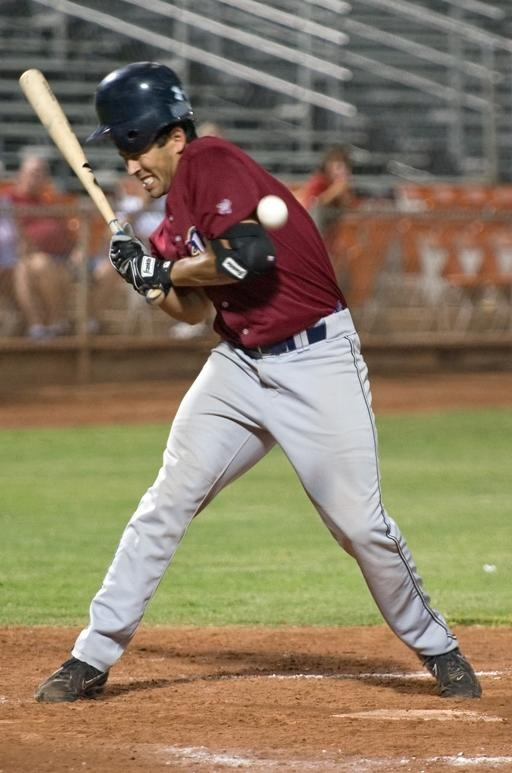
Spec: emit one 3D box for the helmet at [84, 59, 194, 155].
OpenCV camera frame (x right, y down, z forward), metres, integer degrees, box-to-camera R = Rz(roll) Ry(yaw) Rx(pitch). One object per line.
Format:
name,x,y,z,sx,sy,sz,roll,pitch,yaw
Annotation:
helmet,-0.273,-0.657,2.502,0.308,0.188,0.209,-14,23,-7

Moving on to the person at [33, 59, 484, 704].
person,0.024,0.098,2.403,0.891,1.363,0.457,3,0,17

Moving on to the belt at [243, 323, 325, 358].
belt,0.078,-0.092,2.355,0.113,0.027,0.100,-16,0,-11

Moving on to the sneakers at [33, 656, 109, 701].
sneakers,-0.416,0.662,2.445,0.077,0.075,0.204,8,4,39
